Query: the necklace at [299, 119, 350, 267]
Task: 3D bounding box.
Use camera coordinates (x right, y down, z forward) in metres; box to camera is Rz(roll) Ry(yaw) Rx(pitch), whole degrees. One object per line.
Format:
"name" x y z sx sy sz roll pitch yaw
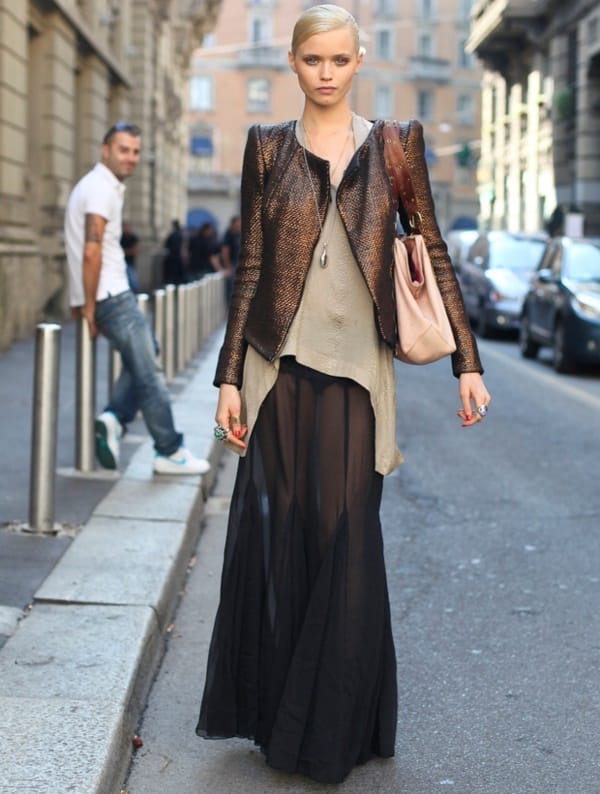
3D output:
"necklace" 0.059 -0.492 2.407 0.098 0.375 0.052 6 -13 0

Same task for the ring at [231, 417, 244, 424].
"ring" -0.148 0.053 2.483 0.016 0.015 0.012 -14 52 -42

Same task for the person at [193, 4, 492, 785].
"person" 0.080 0.010 2.437 0.626 1.762 0.319 0 8 -7

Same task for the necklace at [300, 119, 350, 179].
"necklace" 0.059 -0.561 2.405 0.099 0.142 0.035 -2 -5 -2

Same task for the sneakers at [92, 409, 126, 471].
"sneakers" -0.989 0.224 5.411 0.111 0.312 0.143 -12 1 36

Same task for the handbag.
"handbag" 0.270 -0.226 2.424 0.117 0.288 0.281 -11 -3 -1

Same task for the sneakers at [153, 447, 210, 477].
"sneakers" -0.623 0.347 5.687 0.333 0.163 0.123 -2 12 -15

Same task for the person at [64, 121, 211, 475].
"person" -0.851 -0.476 5.394 0.611 1.805 0.353 -4 10 -31
